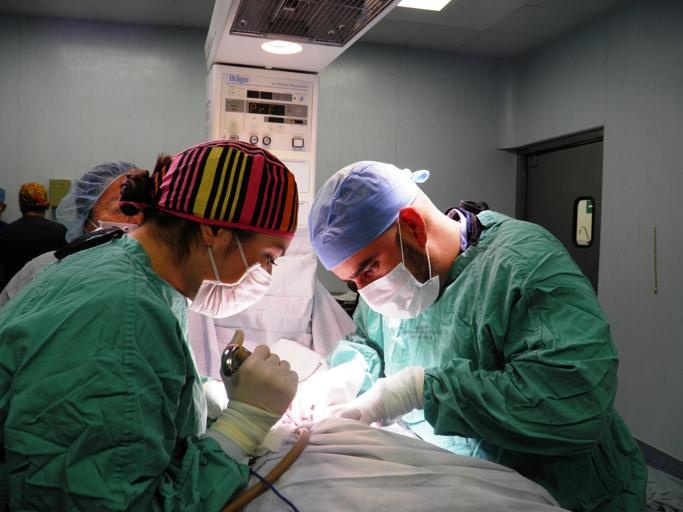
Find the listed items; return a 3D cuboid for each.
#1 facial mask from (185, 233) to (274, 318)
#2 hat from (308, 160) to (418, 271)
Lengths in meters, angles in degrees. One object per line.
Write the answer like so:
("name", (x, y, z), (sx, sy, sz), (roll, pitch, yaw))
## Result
("facial mask", (-0.359, 0.083, 1.632), (0.186, 0.290, 0.224), (0, 9, -30))
("hat", (0.090, -0.203, 1.802), (0.404, 0.226, 0.307), (-39, 35, -2))
